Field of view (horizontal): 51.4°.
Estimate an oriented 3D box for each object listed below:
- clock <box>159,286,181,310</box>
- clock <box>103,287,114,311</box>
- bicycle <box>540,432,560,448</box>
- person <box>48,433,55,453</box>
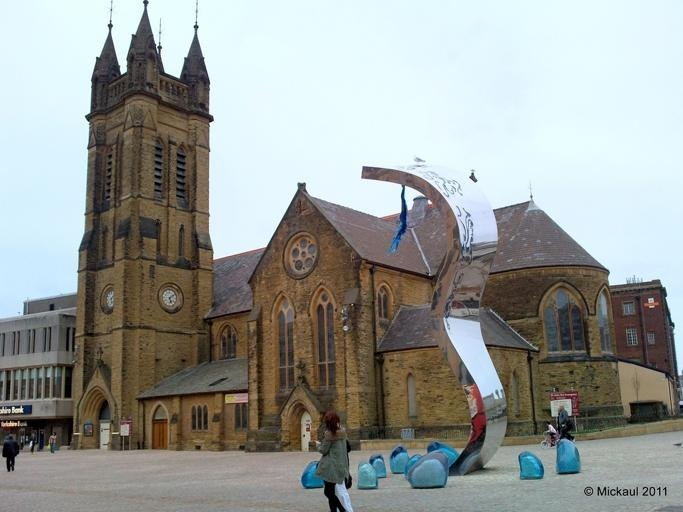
[{"bbox_3d":[-14.011,3.500,58.012,0.425,1.726,1.788,-13,-18,40],"label":"clock"},{"bbox_3d":[-19.003,3.580,57.870,2.053,1.997,0.146,1,-2,42],"label":"clock"},{"bbox_3d":[10.259,8.972,34.516,0.863,0.755,1.008,-9,-18,15],"label":"bicycle"},{"bbox_3d":[-22.231,14.459,54.436,0.257,1.295,1.059,0,-18,-14],"label":"person"}]
